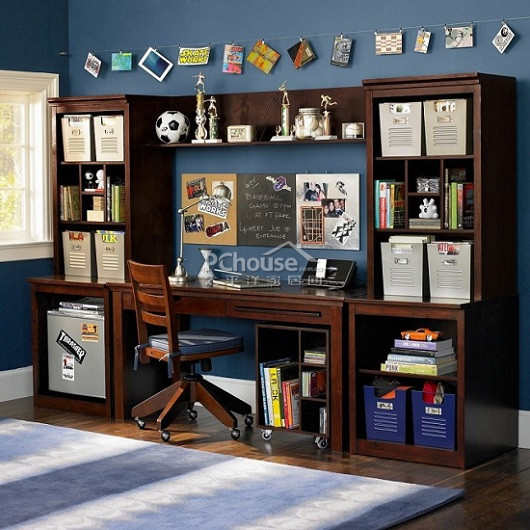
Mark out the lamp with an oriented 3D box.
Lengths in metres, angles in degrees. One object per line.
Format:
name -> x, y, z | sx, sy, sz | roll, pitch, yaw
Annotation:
lamp -> -0.447, -0.248, 3.543 | 0.191, 0.664, 0.456 | 30, 35, 33

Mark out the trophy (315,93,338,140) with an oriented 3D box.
trophy -> 0.354, -0.844, 3.124 | 0.104, 0.236, 0.148 | 3, 15, 13

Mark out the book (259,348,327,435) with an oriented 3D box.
book -> 0.149, 0.669, 2.827 | 0.460, 0.494, 0.253 | -1, -3, 37

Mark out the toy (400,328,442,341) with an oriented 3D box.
toy -> 0.723, 0.326, 2.563 | 0.133, 0.047, 0.085 | 0, 2, 23

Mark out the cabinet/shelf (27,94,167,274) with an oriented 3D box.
cabinet/shelf -> -1.074, -0.532, 3.760 | 0.876, 1.220, 0.579 | -2, -5, 23

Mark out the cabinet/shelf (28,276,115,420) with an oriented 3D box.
cabinet/shelf -> -1.183, 0.510, 3.728 | 0.572, 0.849, 0.461 | 4, 6, 19

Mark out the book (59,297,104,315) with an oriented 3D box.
book -> -1.200, 0.268, 3.627 | 0.562, 0.107, 0.252 | -3, -6, 42

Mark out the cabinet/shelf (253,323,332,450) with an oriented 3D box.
cabinet/shelf -> 0.151, 0.625, 2.868 | 0.399, 0.630, 0.237 | 6, 9, 38

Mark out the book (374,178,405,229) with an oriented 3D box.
book -> 0.627, -0.323, 2.815 | 0.150, 0.255, 0.055 | 0, 7, -12

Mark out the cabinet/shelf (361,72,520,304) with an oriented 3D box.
cabinet/shelf -> 0.798, -0.351, 2.763 | 0.562, 1.103, 0.404 | 0, -8, 18

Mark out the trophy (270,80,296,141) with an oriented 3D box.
trophy -> 0.108, -0.924, 3.276 | 0.144, 0.365, 0.080 | 7, 11, 40

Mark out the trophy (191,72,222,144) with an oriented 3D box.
trophy -> -0.385, -1.018, 3.555 | 0.180, 0.554, 0.370 | 1, -5, -8

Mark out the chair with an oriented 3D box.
chair -> -0.415, 0.448, 3.116 | 0.663, 0.983, 0.634 | -2, 1, -44

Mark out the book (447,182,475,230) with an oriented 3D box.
book -> 0.928, -0.281, 2.602 | 0.122, 0.219, 0.105 | -1, -5, 18

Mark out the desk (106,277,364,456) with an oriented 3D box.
desk -> -0.042, 0.317, 2.824 | 1.484, 0.764, 0.639 | 7, 10, 30

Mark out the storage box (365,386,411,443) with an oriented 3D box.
storage box -> 0.587, 0.731, 2.648 | 0.179, 0.286, 0.133 | 5, 7, 39
